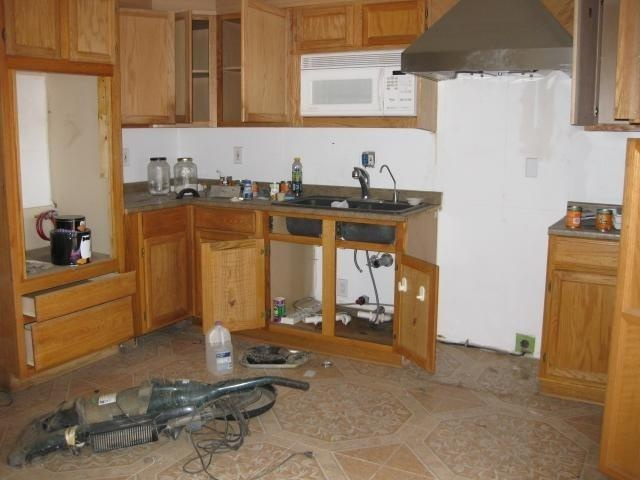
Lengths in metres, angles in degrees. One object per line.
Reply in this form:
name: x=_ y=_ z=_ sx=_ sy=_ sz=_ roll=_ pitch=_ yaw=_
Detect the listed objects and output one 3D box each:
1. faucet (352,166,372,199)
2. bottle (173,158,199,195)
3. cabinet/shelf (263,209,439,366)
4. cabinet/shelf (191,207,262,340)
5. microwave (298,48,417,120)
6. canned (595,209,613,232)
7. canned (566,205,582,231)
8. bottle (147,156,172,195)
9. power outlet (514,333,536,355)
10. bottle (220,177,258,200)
faucet: x=0.318 y=-0.442 z=4.149 sx=0.134 sy=0.240 sz=0.101 roll=0 pitch=11 yaw=3
bottle: x=-1.202 y=-0.568 z=4.715 sx=0.206 sy=0.319 sz=0.196 roll=0 pitch=10 yaw=0
cabinet/shelf: x=0.301 y=0.282 z=3.961 sx=1.472 sy=1.076 sz=0.689 roll=8 pitch=15 yaw=33
cabinet/shelf: x=-0.690 y=0.341 z=4.134 sx=0.693 sy=0.760 sz=0.560 roll=-5 pitch=-4 yaw=27
microwave: x=0.355 y=-1.156 z=4.004 sx=1.001 sy=0.479 sz=0.470 roll=11 pitch=20 yaw=36
canned: x=1.693 y=-0.117 z=3.152 sx=0.124 sy=0.160 sz=0.108 roll=2 pitch=4 yaw=22
canned: x=1.557 y=-0.141 z=3.247 sx=0.082 sy=0.124 sz=0.187 roll=4 pitch=12 yaw=25
bottle: x=-1.405 y=-0.554 z=4.584 sx=0.255 sy=0.319 sz=0.254 roll=0 pitch=15 yaw=0
power outlet: x=1.508 y=0.762 z=3.903 sx=0.145 sy=0.138 sz=0.035 roll=8 pitch=3 yaw=27
bottle: x=-0.676 y=-0.432 z=4.386 sx=0.289 sy=0.146 sz=0.535 roll=-3 pitch=11 yaw=-10
